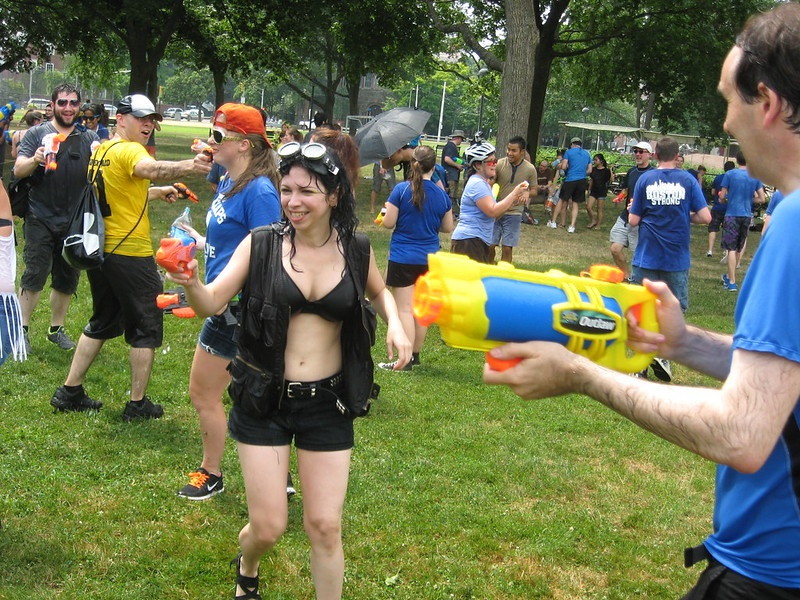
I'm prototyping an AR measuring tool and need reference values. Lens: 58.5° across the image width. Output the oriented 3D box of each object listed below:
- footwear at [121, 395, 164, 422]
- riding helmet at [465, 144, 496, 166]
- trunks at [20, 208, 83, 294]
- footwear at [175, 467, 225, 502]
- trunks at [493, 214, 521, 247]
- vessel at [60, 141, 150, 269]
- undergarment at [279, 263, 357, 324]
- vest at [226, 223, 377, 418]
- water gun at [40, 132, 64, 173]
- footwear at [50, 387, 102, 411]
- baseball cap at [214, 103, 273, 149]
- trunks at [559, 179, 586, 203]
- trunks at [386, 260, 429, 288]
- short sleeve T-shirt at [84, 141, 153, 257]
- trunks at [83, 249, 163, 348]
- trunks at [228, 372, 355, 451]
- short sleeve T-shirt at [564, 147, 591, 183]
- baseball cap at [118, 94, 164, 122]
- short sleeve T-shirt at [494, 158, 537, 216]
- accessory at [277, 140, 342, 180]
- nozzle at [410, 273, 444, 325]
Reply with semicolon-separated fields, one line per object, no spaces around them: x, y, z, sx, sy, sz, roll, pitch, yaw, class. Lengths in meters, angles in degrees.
-2.273;0.968;6.335;0.167;0.160;0.350;5;8;39;footwear
0.947;-1.718;8.462;0.315;0.116;0.234;-6;12;6;riding helmet
-3.752;-0.526;7.594;0.382;0.927;0.696;3;6;39;trunks
-1.459;1.355;5.218;0.336;0.154;0.152;2;3;-30;footwear
1.633;-1.087;11.048;0.402;0.520;0.295;10;13;43;trunks
-2.395;-0.753;5.822;0.523;1.001;0.381;0;35;-26;vessel
-0.458;-0.037;3.860;0.488;0.386;0.261;8;-5;-11;undergarment
-0.513;0.117;3.764;0.979;1.134;0.612;3;-7;-19;vest
-3.574;-1.495;7.337;0.089;0.343;0.407;6;9;-30;water gun
-2.831;0.865;6.322;0.487;0.238;0.175;3;5;-27;footwear
-1.138;-1.280;5.066;0.441;0.208;0.286;-2;22;-43;baseball cap
4.584;-2.900;19.031;0.608;0.600;0.358;12;35;19;trunks
0.048;-0.313;8.127;0.488;0.345;0.286;3;13;5;trunks
-2.353;-0.823;5.945;0.355;0.682;0.832;-12;23;-37;short sleeve T-shirt
-2.319;-0.021;5.999;0.750;0.893;0.499;8;11;25;trunks
-0.548;0.443;3.739;0.663;0.427;0.363;1;-3;-2;trunks
4.599;-3.495;18.594;0.956;0.949;0.557;2;16;8;short sleeve T-shirt
-2.187;-1.632;5.982;0.353;0.183;0.252;-4;3;32;baseball cap
1.780;-1.794;11.393;0.762;0.885;0.416;6;14;12;short sleeve T-shirt
-0.483;-0.743;3.701;0.210;0.101;0.209;9;-14;27;accessory
0.086;0.009;2.901;0.183;0.181;0.187;2;-34;-7;nozzle
